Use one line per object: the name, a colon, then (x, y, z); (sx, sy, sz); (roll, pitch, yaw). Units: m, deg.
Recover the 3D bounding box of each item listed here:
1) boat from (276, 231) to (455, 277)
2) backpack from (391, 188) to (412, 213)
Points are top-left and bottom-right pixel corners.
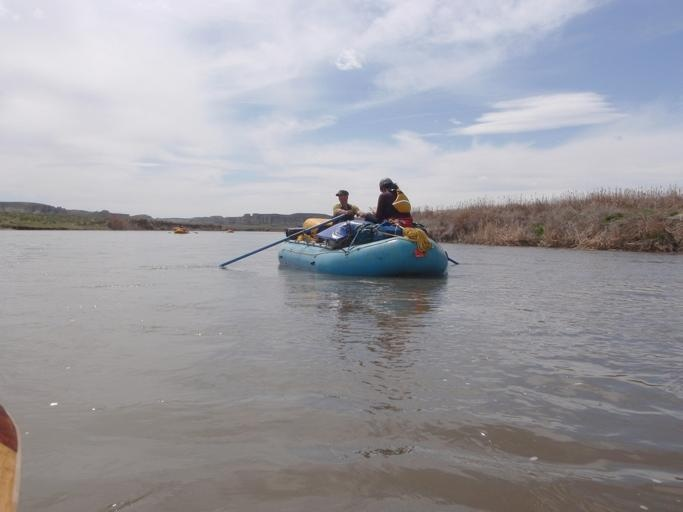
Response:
boat: (1.480, 0.088, 16.275); (2.664, 0.689, 4.594); (8, -5, -18)
backpack: (1.831, -1.614, 14.926); (0.559, 0.711, 0.379); (4, 13, 20)
